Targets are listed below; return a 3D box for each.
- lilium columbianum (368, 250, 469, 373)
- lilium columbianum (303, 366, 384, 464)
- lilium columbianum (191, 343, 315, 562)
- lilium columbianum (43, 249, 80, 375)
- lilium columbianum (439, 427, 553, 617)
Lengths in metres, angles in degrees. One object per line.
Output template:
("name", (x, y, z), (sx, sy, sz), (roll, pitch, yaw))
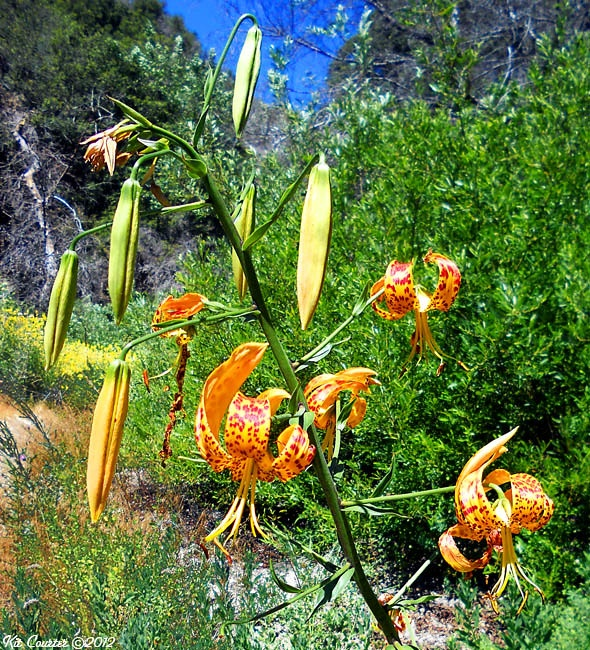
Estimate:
("lilium columbianum", (0.462, -0.062, 3.710), (0.340, 0.426, 0.434), (9, 24, 3))
("lilium columbianum", (0.183, 0.322, 3.511), (0.292, 0.473, 0.279), (7, -1, 20))
("lilium columbianum", (-0.128, 0.421, 3.361), (0.377, 0.727, 0.414), (15, -7, -21))
("lilium columbianum", (-0.797, -0.058, 3.274), (0.086, 0.490, 0.107), (10, -7, -11))
("lilium columbianum", (0.739, 0.702, 3.536), (0.392, 0.748, 0.227), (-6, -1, -11))
